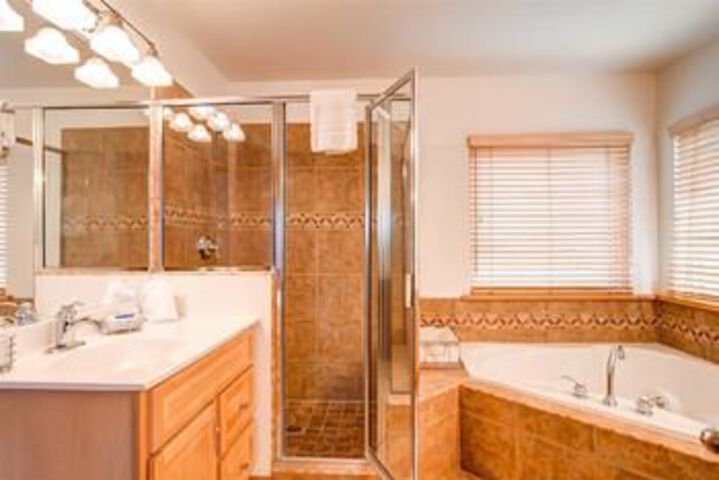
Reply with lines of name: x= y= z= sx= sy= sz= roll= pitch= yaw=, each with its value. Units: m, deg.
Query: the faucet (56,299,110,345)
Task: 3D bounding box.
faucet: x=-1.596 y=0.469 z=2.862 sx=0.285 sy=0.231 sz=0.201 roll=1 pitch=-1 yaw=-3

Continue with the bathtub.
bathtub: x=1.699 y=1.049 z=3.664 sx=1.677 sy=0.460 sz=1.216 roll=-2 pitch=0 yaw=5

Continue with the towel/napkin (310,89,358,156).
towel/napkin: x=-0.169 y=-0.774 z=3.386 sx=0.357 sy=0.382 sz=0.144 roll=-2 pitch=4 yaw=3

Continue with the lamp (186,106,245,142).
lamp: x=-0.983 y=-0.837 z=3.617 sx=0.271 sy=0.090 sz=0.273 roll=5 pitch=-10 yaw=-25

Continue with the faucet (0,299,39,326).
faucet: x=-1.848 y=0.388 z=2.770 sx=0.051 sy=0.149 sz=0.224 roll=-2 pitch=0 yaw=14

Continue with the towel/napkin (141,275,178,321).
towel/napkin: x=-1.308 y=0.383 z=3.339 sx=0.211 sy=0.278 sz=0.087 roll=-5 pitch=-6 yaw=-20

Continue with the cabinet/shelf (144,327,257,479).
cabinet/shelf: x=-0.921 y=0.918 z=2.892 sx=0.408 sy=0.900 sz=1.005 roll=0 pitch=0 yaw=2

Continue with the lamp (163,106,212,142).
lamp: x=-1.198 y=-0.797 z=3.575 sx=0.228 sy=0.057 sz=0.224 roll=-5 pitch=-21 yaw=31
